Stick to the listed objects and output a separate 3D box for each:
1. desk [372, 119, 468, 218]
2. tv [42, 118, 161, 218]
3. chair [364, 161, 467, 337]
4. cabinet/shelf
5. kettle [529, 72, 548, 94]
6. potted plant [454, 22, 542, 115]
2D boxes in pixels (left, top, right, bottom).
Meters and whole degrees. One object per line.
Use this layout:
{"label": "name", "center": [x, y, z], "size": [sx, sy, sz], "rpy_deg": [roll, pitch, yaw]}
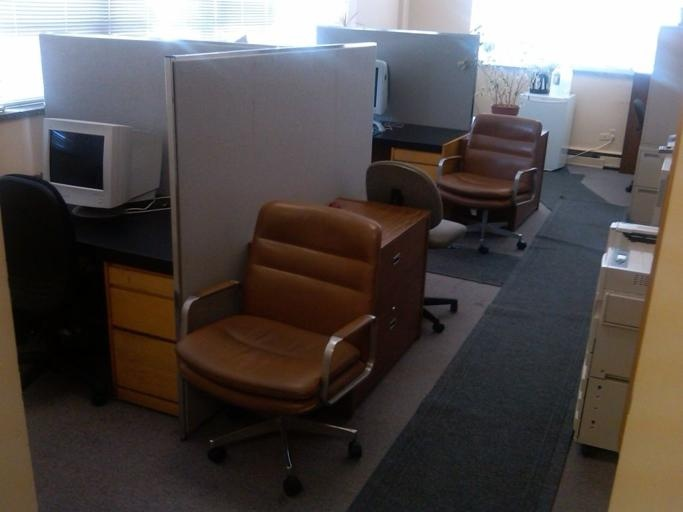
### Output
{"label": "desk", "center": [0.676, -0.827, 5.307], "size": [0.768, 0.822, 0.546], "rpy_deg": [8, 17, 24]}
{"label": "tv", "center": [-1.330, -0.507, 3.226], "size": [0.491, 0.451, 0.380], "rpy_deg": [11, 14, 21]}
{"label": "chair", "center": [0.484, -0.144, 3.898], "size": [0.611, 1.084, 0.653], "rpy_deg": [7, 20, 28]}
{"label": "cabinet/shelf", "center": [0.084, 0.207, 3.277], "size": [0.498, 0.783, 0.925], "rpy_deg": [11, 27, 23]}
{"label": "kettle", "center": [2.452, -2.156, 7.296], "size": [0.223, 0.267, 0.234], "rpy_deg": [-10, 18, -26]}
{"label": "potted plant", "center": [2.159, -2.324, 7.922], "size": [0.717, 0.977, 0.745], "rpy_deg": [-4, 10, -13]}
